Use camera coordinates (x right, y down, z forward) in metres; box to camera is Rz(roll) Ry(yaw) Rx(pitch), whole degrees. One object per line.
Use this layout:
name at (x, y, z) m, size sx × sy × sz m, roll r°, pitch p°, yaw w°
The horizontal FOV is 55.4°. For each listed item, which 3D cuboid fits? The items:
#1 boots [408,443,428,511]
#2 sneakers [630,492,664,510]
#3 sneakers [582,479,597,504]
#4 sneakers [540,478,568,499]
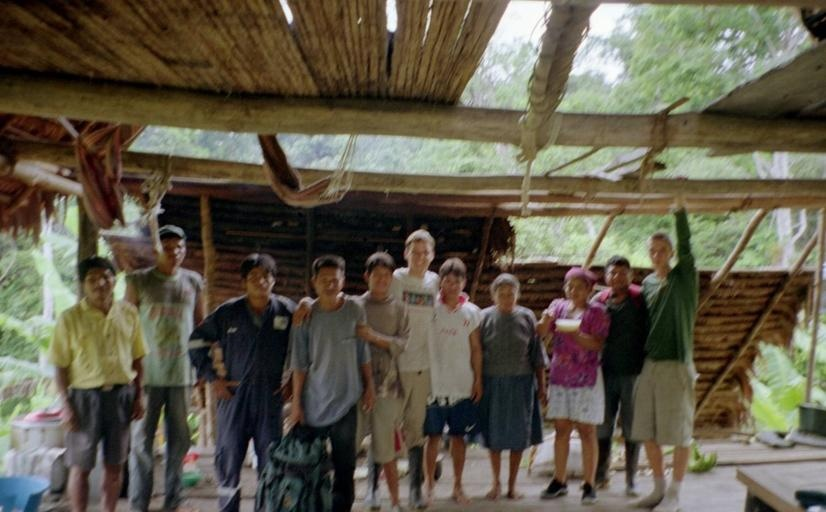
boots at (0.057, 2.416, 8.633) m, size 0.205 × 0.665 × 0.396 m, roll 0°, pitch -10°, yaw 0°
sneakers at (2.631, 2.711, 8.667) m, size 0.454 × 0.180 × 0.143 m, roll -5°, pitch -9°, yaw 16°
sneakers at (1.992, 2.630, 8.793) m, size 0.161 × 0.237 × 0.218 m, roll -2°, pitch -10°, yaw 12°
sneakers at (1.623, 2.637, 8.890) m, size 0.394 × 0.160 × 0.139 m, roll 4°, pitch -9°, yaw -33°
